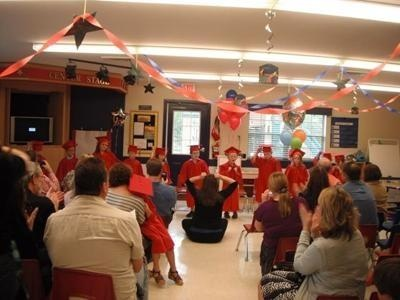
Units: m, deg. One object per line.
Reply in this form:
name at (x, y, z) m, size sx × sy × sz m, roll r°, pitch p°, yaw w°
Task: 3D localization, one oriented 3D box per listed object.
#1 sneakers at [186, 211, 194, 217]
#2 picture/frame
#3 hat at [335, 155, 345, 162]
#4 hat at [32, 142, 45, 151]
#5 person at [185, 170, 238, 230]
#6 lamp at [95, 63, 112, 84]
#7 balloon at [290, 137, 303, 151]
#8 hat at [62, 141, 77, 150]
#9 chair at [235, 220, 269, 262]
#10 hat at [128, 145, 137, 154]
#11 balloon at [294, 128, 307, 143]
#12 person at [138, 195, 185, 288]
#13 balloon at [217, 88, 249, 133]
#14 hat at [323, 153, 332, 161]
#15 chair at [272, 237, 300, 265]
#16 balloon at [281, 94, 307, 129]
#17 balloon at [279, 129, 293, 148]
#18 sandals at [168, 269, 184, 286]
sneakers at (-0.203, 1.272, 6.758) m, size 0.178 × 0.130 × 0.072 m, roll 4°, pitch -3°, yaw 6°
picture/frame at (-1.501, -0.462, 9.046) m, size 0.827 × 1.313 × 0.055 m, roll 4°, pitch 16°, yaw 0°
hat at (2.946, 0.157, 7.176) m, size 0.142 × 0.112 × 0.147 m, roll 1°, pitch 1°, yaw 5°
hat at (-2.942, -0.067, 6.192) m, size 0.161 × 0.128 × 0.161 m, roll 1°, pitch 1°, yaw -11°
person at (0.145, 0.796, 5.132) m, size 0.675 × 0.987 × 0.621 m, roll 4°, pitch 9°, yaw -2°
lamp at (-1.971, -1.592, 6.960) m, size 0.201 × 0.445 × 1.039 m, roll 1°, pitch 4°, yaw -14°
balloon at (2.336, -0.167, 8.293) m, size 0.343 × 0.437 × 0.356 m, roll 0°, pitch 6°, yaw 4°
hat at (-2.428, -0.098, 6.315) m, size 0.209 × 0.167 × 0.272 m, roll 1°, pitch 4°, yaw -21°
chair at (0.655, 1.267, 4.880) m, size 0.474 × 0.724 × 0.483 m, roll 1°, pitch 1°, yaw -10°
hat at (-1.455, -0.030, 7.292) m, size 0.143 × 0.130 × 0.153 m, roll 0°, pitch 5°, yaw -36°
balloon at (2.504, -0.344, 8.544) m, size 0.305 × 0.376 × 0.317 m, roll -2°, pitch 26°, yaw 16°
person at (-0.417, 0.986, 3.541) m, size 0.373 × 1.090 × 0.291 m, roll -8°, pitch 17°, yaw -13°
balloon at (0.734, -0.860, 7.381) m, size 0.536 × 0.960 × 0.322 m, roll 5°, pitch 0°, yaw -38°
hat at (2.688, 0.126, 7.187) m, size 0.190 × 0.151 × 0.197 m, roll 0°, pitch 1°, yaw 6°
chair at (0.807, 1.008, 3.408) m, size 0.211 × 0.344 × 0.244 m, roll 2°, pitch -5°, yaw 1°
balloon at (2.218, -0.868, 8.113) m, size 0.494 × 0.862 × 0.556 m, roll 8°, pitch 17°, yaw 7°
balloon at (2.199, -0.308, 8.784) m, size 0.289 × 0.310 × 0.395 m, roll -10°, pitch 12°, yaw 10°
sandals at (-0.256, 1.438, 3.853) m, size 0.086 × 0.103 × 0.232 m, roll 5°, pitch 4°, yaw -45°
